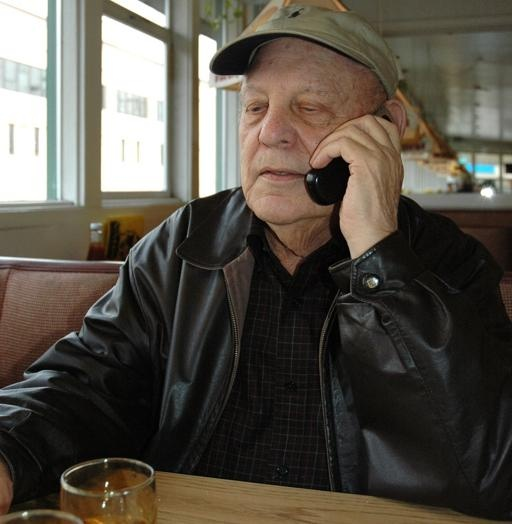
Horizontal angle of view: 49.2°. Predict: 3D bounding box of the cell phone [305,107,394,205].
[{"bbox_3d":[0.173,-0.195,1.059,0.050,0.113,0.219,-17,33,44],"label":"cell phone"}]
